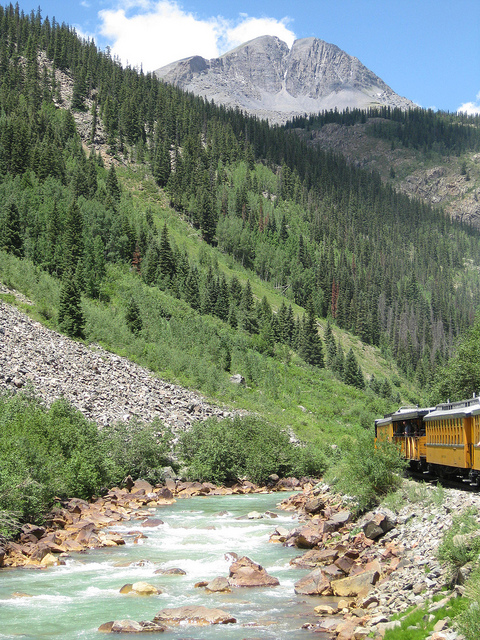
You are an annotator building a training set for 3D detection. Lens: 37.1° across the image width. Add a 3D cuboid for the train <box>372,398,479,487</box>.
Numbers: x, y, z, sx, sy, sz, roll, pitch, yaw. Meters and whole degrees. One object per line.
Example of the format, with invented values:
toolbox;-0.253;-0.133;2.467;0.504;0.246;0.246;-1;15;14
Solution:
train;9.279;5.419;33.056;2.050;3.781;10.648;1;-6;-10
